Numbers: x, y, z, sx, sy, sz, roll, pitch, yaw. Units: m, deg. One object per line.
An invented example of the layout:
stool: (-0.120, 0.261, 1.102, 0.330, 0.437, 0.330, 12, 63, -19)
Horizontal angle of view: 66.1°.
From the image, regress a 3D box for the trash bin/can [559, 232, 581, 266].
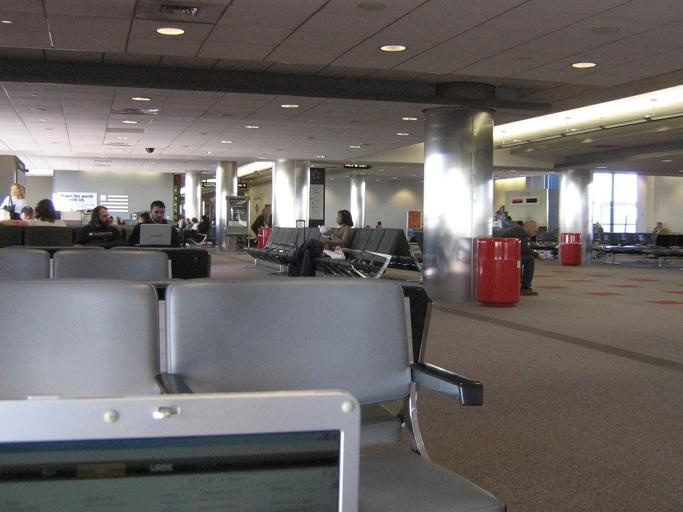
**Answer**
trash bin/can: (7.934, -0.277, 18.027, 0.674, 1.148, 0.705, 1, 3, 22)

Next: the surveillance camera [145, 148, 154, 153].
surveillance camera: (-6.182, -3.437, 16.860, 0.190, 0.061, 0.188, -2, -1, -45)

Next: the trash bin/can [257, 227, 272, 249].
trash bin/can: (-2.552, -0.636, 17.409, 0.515, 0.796, 0.819, 13, 4, -4)

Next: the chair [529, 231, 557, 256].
chair: (7.714, -0.539, 19.882, 1.010, 1.045, 1.137, 2, -7, -16)

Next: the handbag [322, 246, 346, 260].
handbag: (-0.101, -0.053, 10.045, 0.188, 0.229, 0.544, 2, 1, -36)

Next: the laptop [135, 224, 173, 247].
laptop: (-2.975, -0.341, 8.386, 0.551, 0.345, 0.369, 1, 3, -25)
